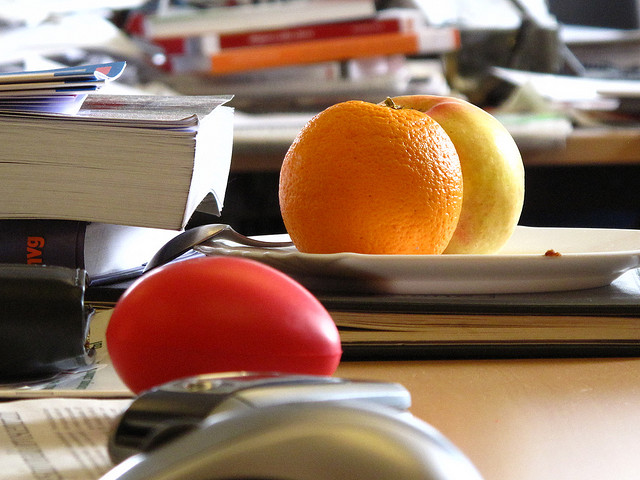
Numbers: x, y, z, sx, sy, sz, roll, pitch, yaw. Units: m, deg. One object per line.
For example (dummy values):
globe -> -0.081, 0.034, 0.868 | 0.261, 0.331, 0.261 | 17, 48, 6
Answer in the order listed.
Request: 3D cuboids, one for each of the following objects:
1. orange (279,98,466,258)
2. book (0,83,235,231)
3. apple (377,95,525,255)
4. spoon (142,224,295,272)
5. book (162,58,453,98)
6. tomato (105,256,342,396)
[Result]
orange -> 0.042, -0.040, 0.478 | 0.146, 0.112, 0.127 | 7, 10, -9
book -> -0.135, -0.057, 0.515 | 0.148, 0.057, 0.137 | 3, 7, 17
apple -> 0.108, -0.052, 0.513 | 0.074, 0.108, 0.130 | -11, 41, -16
spoon -> -0.068, 0.003, 0.510 | 0.026, 0.027, 0.155 | 9, 15, 43
book -> 0.004, -0.437, 1.905 | 0.640, 0.100, 0.561 | -2, 5, -3
tomato -> -0.060, 0.043, 0.356 | 0.139, 0.068, 0.080 | 7, 11, -3
